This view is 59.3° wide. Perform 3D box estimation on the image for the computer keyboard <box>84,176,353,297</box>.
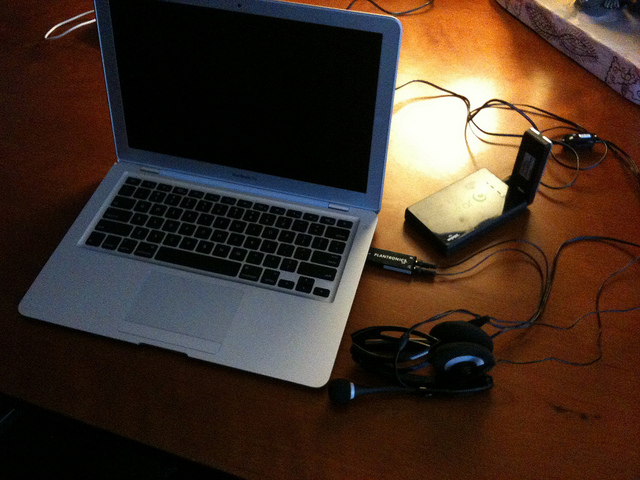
[{"bbox_3d":[-0.178,-0.020,1.006,0.496,0.018,0.201,12,60,9],"label":"computer keyboard"}]
